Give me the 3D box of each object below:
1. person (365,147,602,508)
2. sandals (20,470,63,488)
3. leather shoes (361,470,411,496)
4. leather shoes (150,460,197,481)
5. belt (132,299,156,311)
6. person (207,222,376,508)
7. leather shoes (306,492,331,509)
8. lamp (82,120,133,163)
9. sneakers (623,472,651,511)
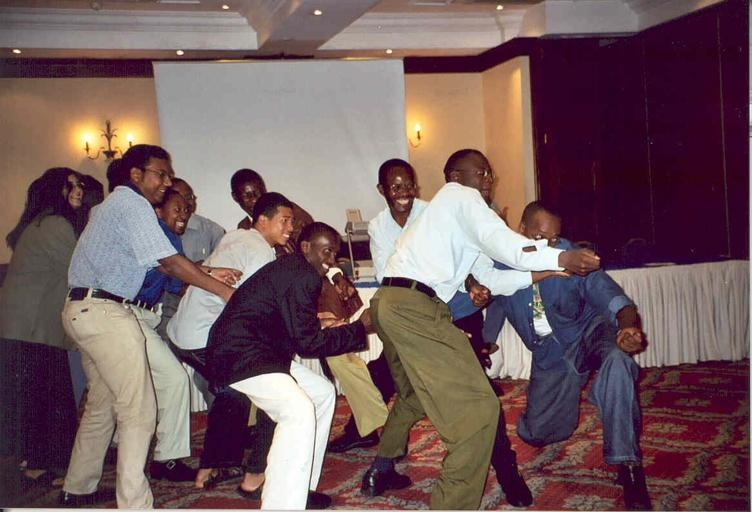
[{"bbox_3d":[0.474,0.503,3.388,1.246,2.171,0.910,-4,11,-3],"label":"person"},{"bbox_3d":[-2.476,1.651,4.049,0.148,0.039,0.145,3,3,8],"label":"sandals"},{"bbox_3d":[0.052,1.514,3.736,0.355,0.167,0.137,-2,3,-26],"label":"leather shoes"},{"bbox_3d":[-1.444,1.526,3.964,0.378,0.160,0.136,1,3,-4],"label":"leather shoes"},{"bbox_3d":[-1.639,0.338,3.855,0.094,0.069,0.092,1,-3,-1],"label":"belt"},{"bbox_3d":[-0.484,0.745,3.319,0.826,1.791,0.666,-13,15,-42],"label":"person"},{"bbox_3d":[-0.368,1.580,3.512,0.156,0.046,0.114,3,1,-5],"label":"leather shoes"},{"bbox_3d":[-4.432,-1.896,9.066,0.825,0.723,0.195,-3,-1,-1],"label":"lamp"},{"bbox_3d":[1.577,1.412,3.316,0.169,0.255,0.076,-1,11,11],"label":"sneakers"}]
